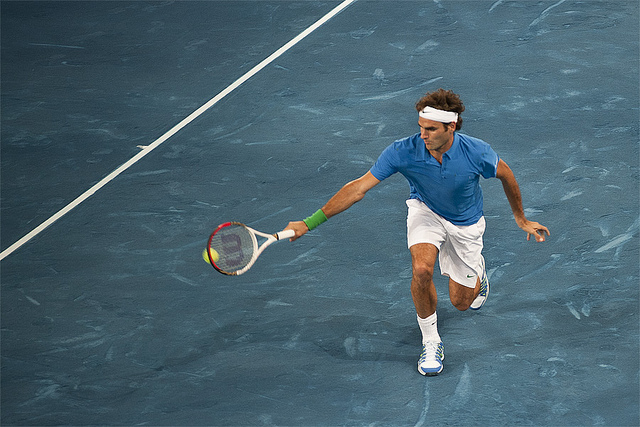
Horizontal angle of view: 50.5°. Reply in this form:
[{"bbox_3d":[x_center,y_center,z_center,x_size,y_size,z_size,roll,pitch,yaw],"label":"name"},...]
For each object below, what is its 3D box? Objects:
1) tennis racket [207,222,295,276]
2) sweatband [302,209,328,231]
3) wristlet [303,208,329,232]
[{"bbox_3d":[-0.739,0.307,6.074,0.863,0.509,0.700,-5,43,-4],"label":"tennis racket"},{"bbox_3d":[-0.047,0.051,6.139,0.255,0.109,0.152,-27,81,-6],"label":"sweatband"},{"bbox_3d":[-0.046,0.050,6.159,0.268,0.107,0.144,-26,82,-4],"label":"wristlet"}]
